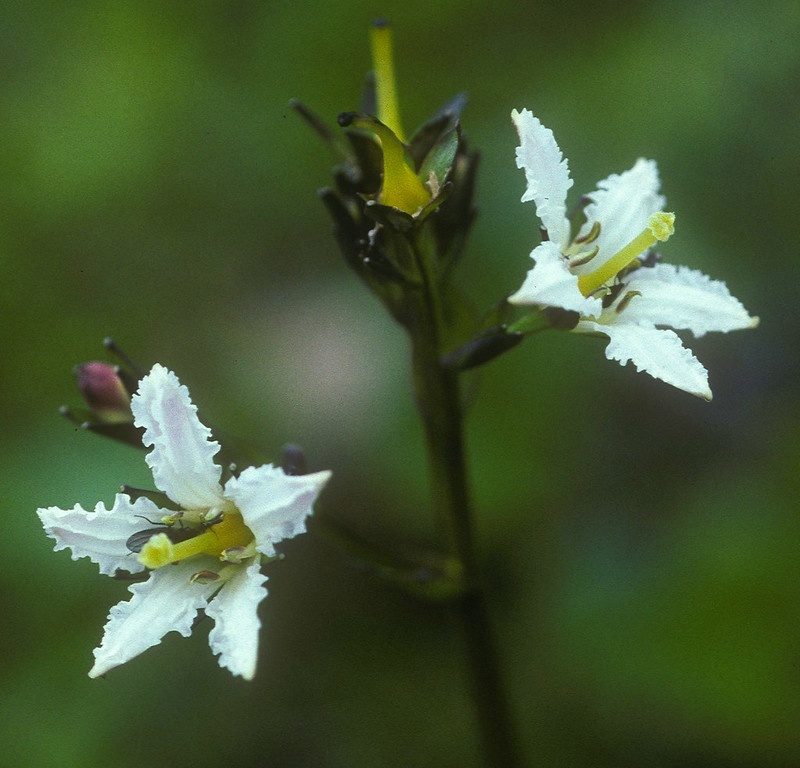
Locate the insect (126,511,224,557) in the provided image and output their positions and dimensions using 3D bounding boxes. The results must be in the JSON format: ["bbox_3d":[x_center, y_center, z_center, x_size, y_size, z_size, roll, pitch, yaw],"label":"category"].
[{"bbox_3d":[-0.300,0.192,1.425,0.084,0.020,0.069,-13,-13,0],"label":"insect"}]
